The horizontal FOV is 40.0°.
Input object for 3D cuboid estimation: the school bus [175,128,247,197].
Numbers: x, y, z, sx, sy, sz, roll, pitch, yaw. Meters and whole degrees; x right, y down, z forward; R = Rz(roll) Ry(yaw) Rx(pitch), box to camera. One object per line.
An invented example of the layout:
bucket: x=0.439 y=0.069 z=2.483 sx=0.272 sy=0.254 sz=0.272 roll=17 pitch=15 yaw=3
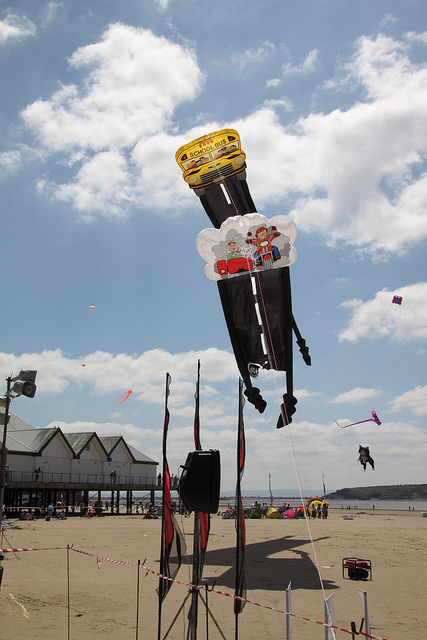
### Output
school bus: x=-0.255 y=-5.192 z=19.340 sx=2.297 sy=1.707 sz=2.984 roll=-22 pitch=16 yaw=0

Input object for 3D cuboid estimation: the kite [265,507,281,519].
kite: x=4.205 y=13.837 z=41.731 sx=0.988 sy=0.663 sz=0.800 roll=-6 pitch=-9 yaw=5

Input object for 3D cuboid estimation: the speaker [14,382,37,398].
speaker: x=-3.986 y=1.479 z=12.409 sx=0.472 sy=0.316 sz=0.352 roll=1 pitch=-11 yaw=-36

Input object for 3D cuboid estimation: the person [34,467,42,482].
person: x=-12.735 y=11.214 z=42.415 sx=0.459 sy=0.858 sz=1.356 roll=-3 pitch=-9 yaw=-11

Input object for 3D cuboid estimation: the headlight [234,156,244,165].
headlight: x=0.776 y=-4.852 z=17.741 sx=0.273 sy=0.183 sz=0.220 roll=-2 pitch=-9 yaw=-20

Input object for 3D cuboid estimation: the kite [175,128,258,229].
kite: x=0.133 y=-4.553 z=18.576 sx=2.000 sy=1.824 sz=2.628 roll=-6 pitch=-9 yaw=6

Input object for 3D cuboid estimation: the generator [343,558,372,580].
generator: x=3.664 y=6.360 z=14.923 sx=0.729 sy=0.612 sz=0.756 roll=-6 pitch=-9 yaw=9

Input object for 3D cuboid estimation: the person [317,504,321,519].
person: x=8.467 y=15.208 z=46.693 sx=0.223 sy=0.900 sz=0.828 roll=-7 pitch=-9 yaw=12

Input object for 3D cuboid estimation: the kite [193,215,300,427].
kite: x=1.404 y=0.200 z=19.547 sx=2.633 sy=6.733 sz=3.714 roll=-5 pitch=-9 yaw=0

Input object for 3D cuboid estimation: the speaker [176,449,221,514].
speaker: x=-0.305 y=2.255 z=8.031 sx=0.653 sy=0.866 sz=0.668 roll=11 pitch=-28 yaw=-22
